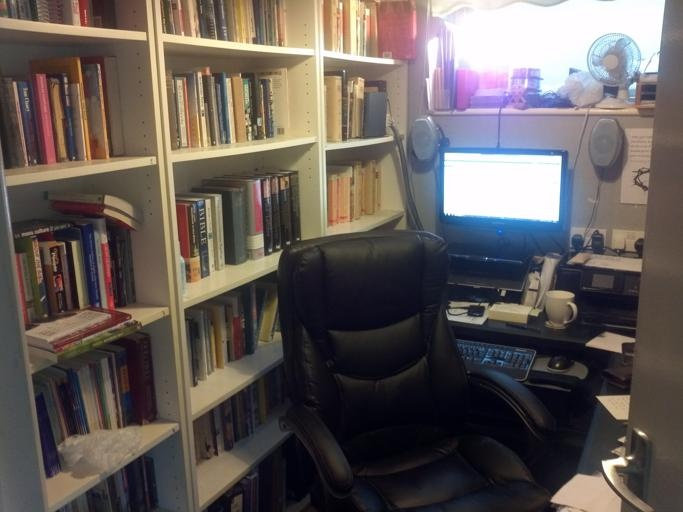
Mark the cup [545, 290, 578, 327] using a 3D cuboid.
[{"bbox_3d":[0.992,0.271,2.587,0.150,0.136,0.102,8,-9,-1],"label":"cup"}]

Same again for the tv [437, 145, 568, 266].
[{"bbox_3d":[0.851,-0.268,2.930,0.552,0.523,0.243,4,9,27],"label":"tv"}]

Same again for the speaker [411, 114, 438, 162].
[{"bbox_3d":[0.461,-0.649,3.247,0.158,0.231,0.122,-6,-10,8],"label":"speaker"}]

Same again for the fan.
[{"bbox_3d":[1.379,-0.970,2.909,0.264,0.404,0.262,-2,36,21],"label":"fan"}]

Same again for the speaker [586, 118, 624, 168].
[{"bbox_3d":[1.316,-0.573,2.828,0.165,0.261,0.167,-18,27,-31],"label":"speaker"}]
